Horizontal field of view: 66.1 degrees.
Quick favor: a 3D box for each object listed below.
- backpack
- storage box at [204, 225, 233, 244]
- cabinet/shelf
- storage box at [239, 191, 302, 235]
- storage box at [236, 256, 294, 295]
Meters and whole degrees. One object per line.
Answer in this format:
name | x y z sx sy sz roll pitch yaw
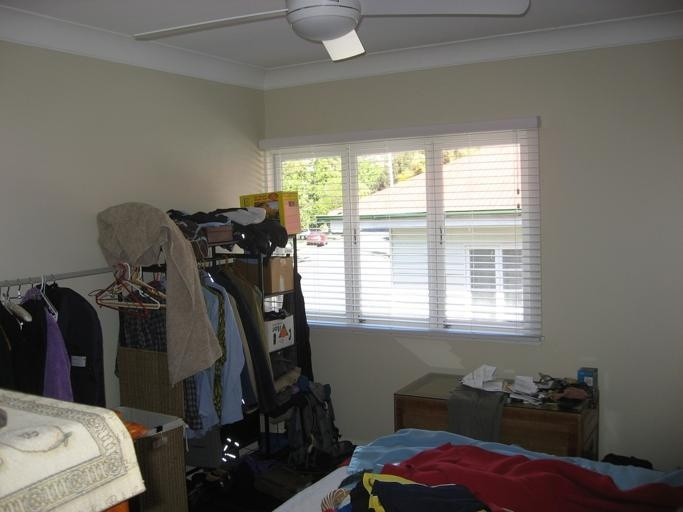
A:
backpack | -0.216 1.232 3.837 0.338 0.574 0.516 -2 -4 20
storage box | -0.786 -0.140 3.382 0.105 0.090 0.196 -4 0 23
cabinet/shelf | -0.783 1.068 3.221 1.121 1.034 0.597 -1 1 6
storage box | -0.556 -0.316 3.988 0.415 0.327 0.240 -1 3 20
storage box | -0.552 0.115 3.848 0.311 0.205 0.314 2 3 42
